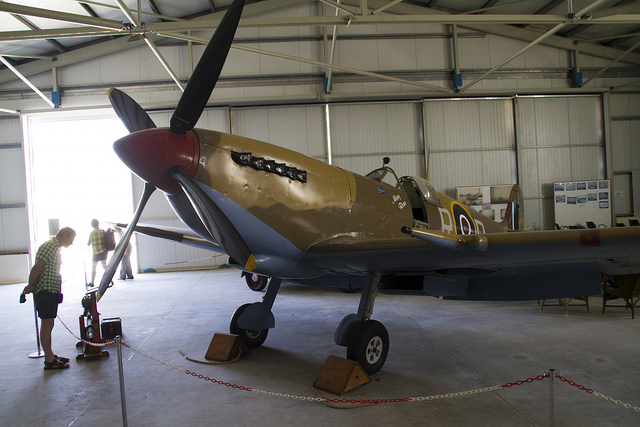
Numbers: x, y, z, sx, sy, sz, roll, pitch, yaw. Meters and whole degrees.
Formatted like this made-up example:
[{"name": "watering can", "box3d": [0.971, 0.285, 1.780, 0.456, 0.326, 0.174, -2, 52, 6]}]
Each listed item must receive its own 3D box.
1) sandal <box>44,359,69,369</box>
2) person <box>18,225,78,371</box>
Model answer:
[{"name": "sandal", "box3d": [-4.570, 2.605, 8.316, 0.432, 0.155, 0.139, -1, -4, -14]}, {"name": "person", "box3d": [-4.739, 1.461, 8.423, 0.820, 2.454, 0.617, 1, -1, -26]}]
